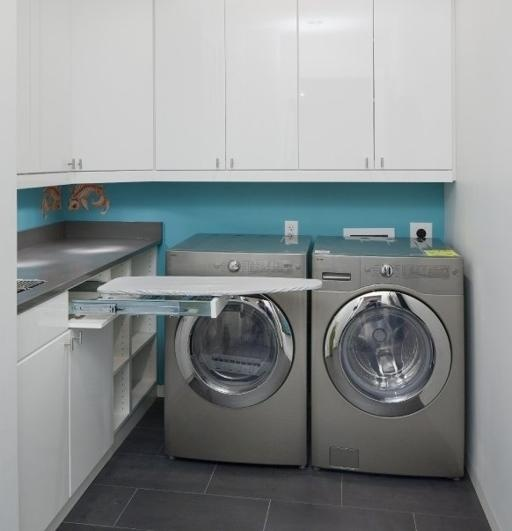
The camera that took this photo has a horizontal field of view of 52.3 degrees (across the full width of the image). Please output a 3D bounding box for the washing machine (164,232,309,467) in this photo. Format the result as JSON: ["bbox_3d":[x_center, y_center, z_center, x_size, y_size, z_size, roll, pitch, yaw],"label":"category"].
[{"bbox_3d":[-0.071,0.390,2.643,0.776,1.270,0.875,0,3,7],"label":"washing machine"}]

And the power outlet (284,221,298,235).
[{"bbox_3d":[0.195,-0.206,2.881,0.072,0.078,0.009,1,10,7],"label":"power outlet"}]
